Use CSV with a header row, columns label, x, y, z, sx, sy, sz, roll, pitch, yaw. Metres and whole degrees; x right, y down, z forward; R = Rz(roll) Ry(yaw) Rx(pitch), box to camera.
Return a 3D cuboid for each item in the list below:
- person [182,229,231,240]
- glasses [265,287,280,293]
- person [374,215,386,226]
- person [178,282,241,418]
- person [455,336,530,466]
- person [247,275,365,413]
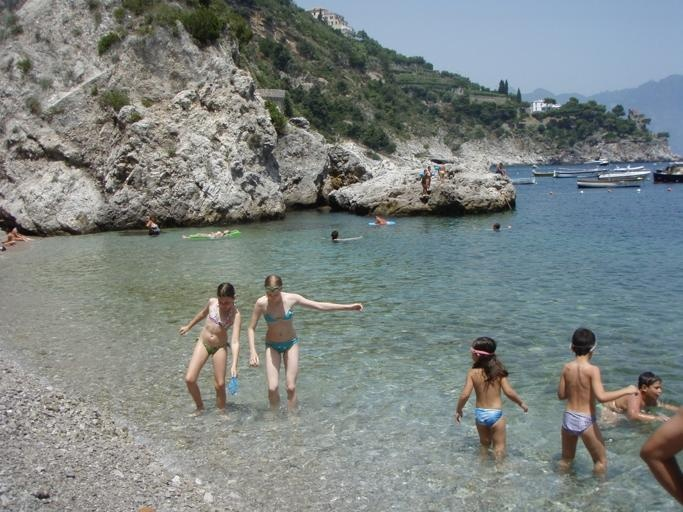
label,x,y,z,sx,sy,sz,roll,pitch,yaw
person,-7.663,-1.194,32.416,1.615,0.200,0.485,-10,16,-23
glasses,-1.250,0.600,10.453,0.233,0.122,0.102,-4,14,-12
person,2.545,-2.268,36.855,0.682,0.379,0.925,8,1,12
person,-2.451,1.759,10.888,1.029,2.493,0.799,-2,14,-6
person,2.465,2.368,9.607,1.006,2.002,0.521,3,15,13
person,-1.101,1.575,11.037,1.488,2.688,1.008,-5,15,-18
